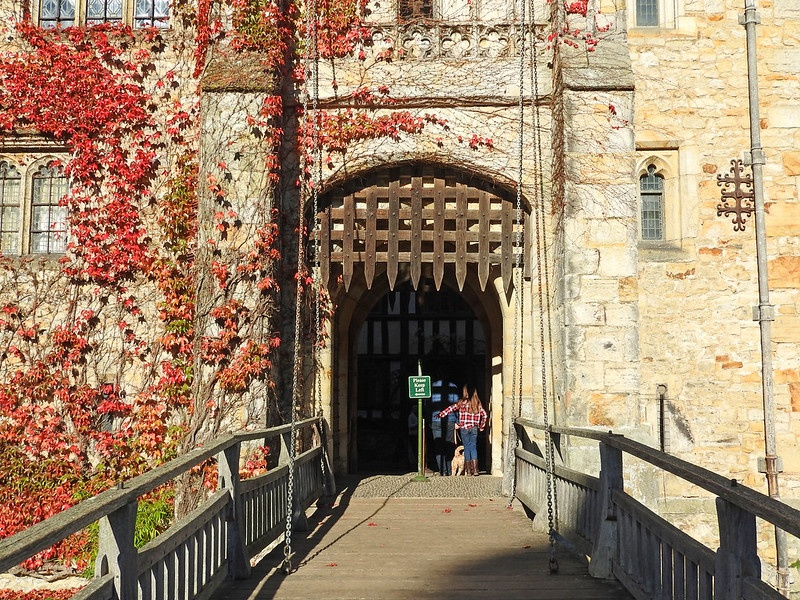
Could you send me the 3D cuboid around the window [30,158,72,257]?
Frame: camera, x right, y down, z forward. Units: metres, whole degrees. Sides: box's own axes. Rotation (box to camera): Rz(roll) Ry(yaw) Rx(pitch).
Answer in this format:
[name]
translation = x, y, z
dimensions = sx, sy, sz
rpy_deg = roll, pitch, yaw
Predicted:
[window]
translation = -4.446, -1.150, 11.213
dimensions = 0.493, 1.009, 0.186
rpy_deg = 5, -4, 14
